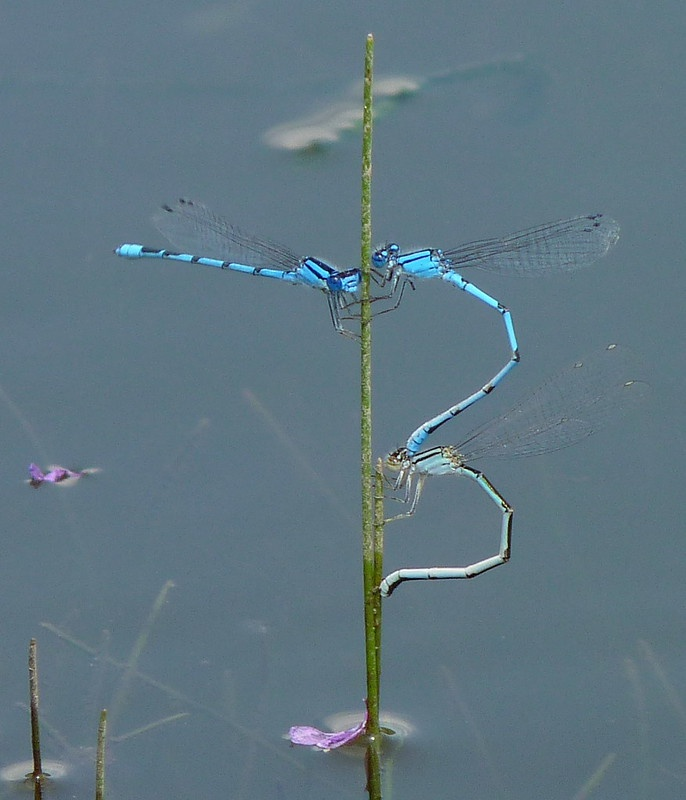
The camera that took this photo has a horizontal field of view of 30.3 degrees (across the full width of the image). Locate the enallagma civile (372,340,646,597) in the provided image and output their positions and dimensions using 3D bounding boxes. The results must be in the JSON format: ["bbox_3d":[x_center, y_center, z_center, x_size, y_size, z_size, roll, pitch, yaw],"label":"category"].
[{"bbox_3d":[0.605,0.222,4.426,1.033,0.852,0.125,-11,0,-11],"label":"enallagma civile"}]
